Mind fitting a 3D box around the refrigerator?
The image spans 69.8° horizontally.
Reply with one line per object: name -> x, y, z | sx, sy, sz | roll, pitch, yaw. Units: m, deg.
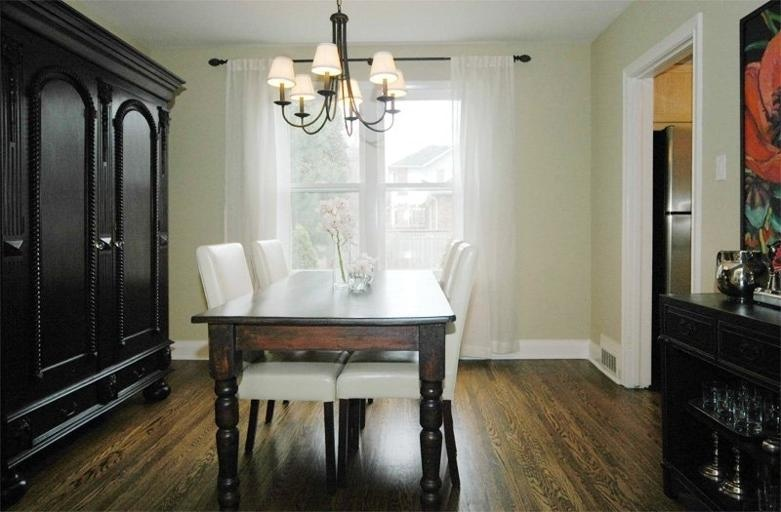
refrigerator -> 2.320, -0.381, 4.606 | 0.286, 1.371, 0.225 | -1, 5, 26

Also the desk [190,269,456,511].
desk -> -0.363, 0.432, 3.604 | 1.169, 0.943, 2.039 | -1, 2, 1
